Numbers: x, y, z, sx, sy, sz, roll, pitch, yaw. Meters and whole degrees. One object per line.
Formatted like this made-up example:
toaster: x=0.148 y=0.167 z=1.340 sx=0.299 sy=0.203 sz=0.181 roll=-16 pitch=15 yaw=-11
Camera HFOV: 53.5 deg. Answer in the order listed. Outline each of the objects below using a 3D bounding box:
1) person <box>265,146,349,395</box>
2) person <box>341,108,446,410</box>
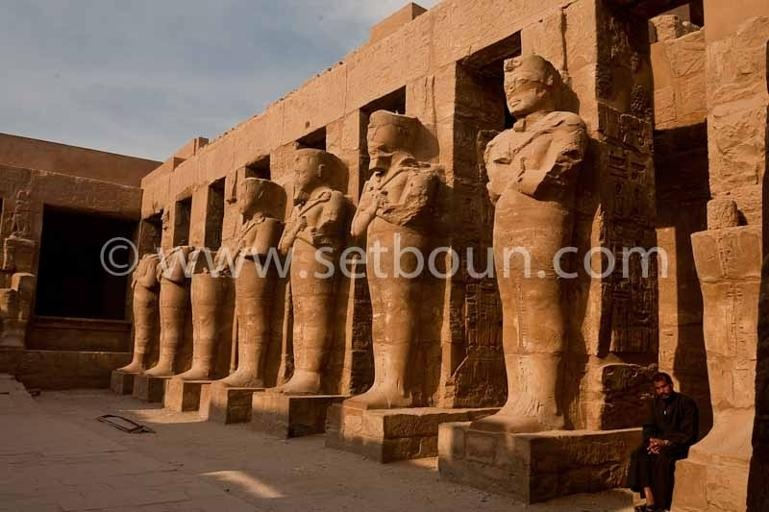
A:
person: x=-0.925 y=0.178 z=10.385 sx=0.923 sy=3.386 sz=0.658 roll=5 pitch=-10 yaw=-5
person: x=0.165 y=-0.006 z=9.337 sx=1.166 sy=3.710 sz=0.643 roll=3 pitch=-10 yaw=3
